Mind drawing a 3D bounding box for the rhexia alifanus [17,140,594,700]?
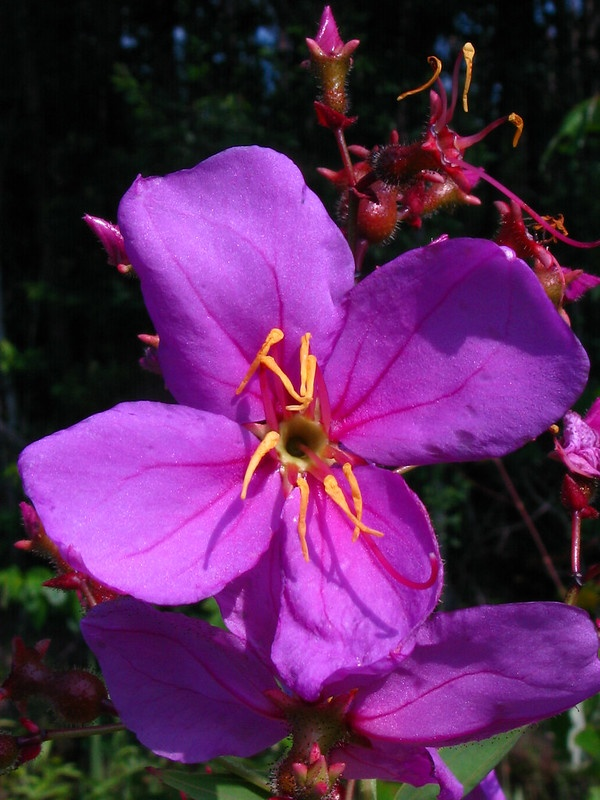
[{"bbox_3d":[0.039,0.007,1.226,0.618,0.542,0.328,6,22,13],"label":"rhexia alifanus"}]
